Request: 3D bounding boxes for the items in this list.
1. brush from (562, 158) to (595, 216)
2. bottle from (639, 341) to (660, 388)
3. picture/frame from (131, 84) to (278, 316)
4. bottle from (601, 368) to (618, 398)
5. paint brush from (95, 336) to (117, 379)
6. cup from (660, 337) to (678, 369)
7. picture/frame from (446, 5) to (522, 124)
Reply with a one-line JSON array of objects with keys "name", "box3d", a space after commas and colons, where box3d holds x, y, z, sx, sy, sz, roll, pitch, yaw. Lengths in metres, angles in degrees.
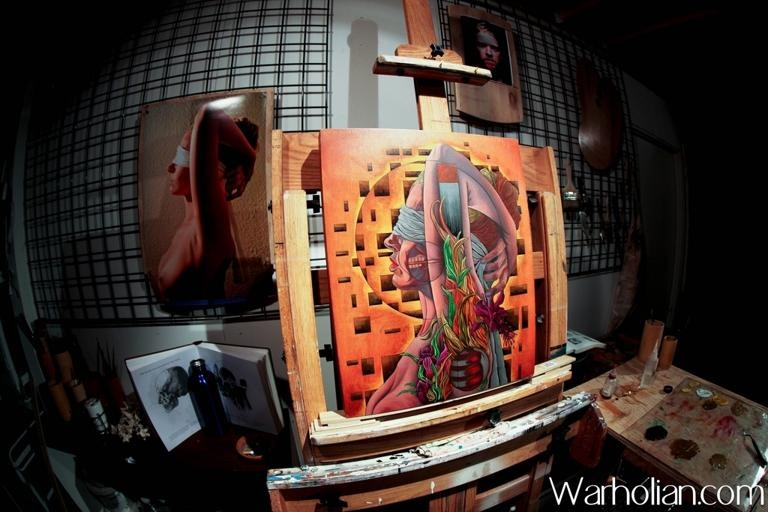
[{"name": "brush", "box3d": [1.349, -0.476, 3.463, 0.206, 0.382, 0.086, -4, -1, -13]}, {"name": "bottle", "box3d": [1.768, 0.714, 3.321, 0.126, 0.336, 0.236, -3, -1, 29]}, {"name": "picture/frame", "box3d": [-1.085, -0.403, 2.964, 1.164, 1.721, 0.115, -3, -5, -1]}, {"name": "bottle", "box3d": [1.471, 0.842, 3.226, 0.182, 0.182, 0.080, -2, -1, -35]}, {"name": "paint brush", "box3d": [-1.720, 0.637, 3.064, 0.123, 0.155, 0.025, -2, -1, 7]}, {"name": "cup", "box3d": [1.919, 0.657, 3.373, 0.105, 0.248, 0.078, -3, -1, 32]}, {"name": "picture/frame", "box3d": [0.654, -1.258, 3.252, 0.490, 0.747, 0.057, -2, -1, -16]}]
